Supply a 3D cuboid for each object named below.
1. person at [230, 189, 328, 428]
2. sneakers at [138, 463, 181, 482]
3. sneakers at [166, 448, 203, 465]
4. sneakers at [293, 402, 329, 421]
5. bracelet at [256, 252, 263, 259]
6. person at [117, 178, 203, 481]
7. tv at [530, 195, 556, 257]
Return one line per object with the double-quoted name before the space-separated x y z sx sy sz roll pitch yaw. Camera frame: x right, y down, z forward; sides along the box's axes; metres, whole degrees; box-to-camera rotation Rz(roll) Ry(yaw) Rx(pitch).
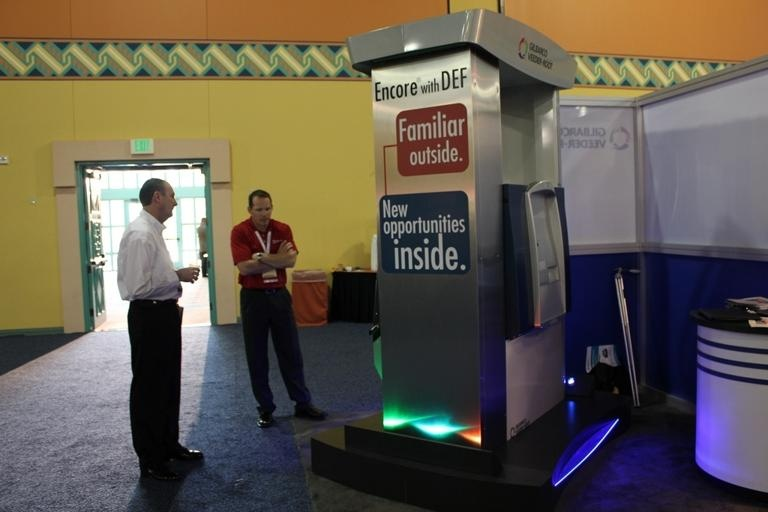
"person" -1.078 0.614 5.887 0.664 1.919 0.430 -4 9 -15
"sneakers" -1.873 1.794 5.164 0.360 0.171 0.140 0 -4 6
"sneakers" -1.728 1.720 5.316 0.308 0.146 0.120 -1 1 -11
"sneakers" -0.727 1.509 5.998 0.279 0.126 0.139 0 2 9
"bracelet" -1.164 -0.010 5.718 0.038 0.058 0.063 11 17 10
"person" -1.883 0.596 5.103 0.573 2.432 0.486 -6 9 -26
"tv" 1.325 -0.247 5.122 0.078 0.523 0.252 -4 -2 39
